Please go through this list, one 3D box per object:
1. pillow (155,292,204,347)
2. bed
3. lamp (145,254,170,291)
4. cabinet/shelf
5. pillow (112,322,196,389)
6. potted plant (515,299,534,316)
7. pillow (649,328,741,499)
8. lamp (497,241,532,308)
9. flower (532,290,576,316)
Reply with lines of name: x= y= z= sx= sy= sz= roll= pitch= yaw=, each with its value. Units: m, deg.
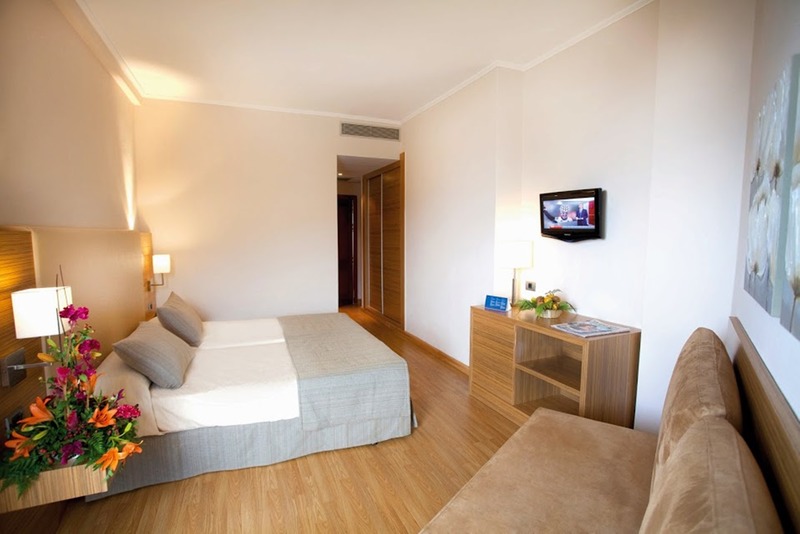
pillow: x=-2.123 y=0.325 z=4.929 sx=0.369 sy=0.365 sz=0.883 roll=-2 pitch=13 yaw=-25
bed: x=-1.103 y=1.103 z=4.075 sx=1.574 sy=0.458 sz=1.593 roll=-7 pitch=15 yaw=-28
lamp: x=-2.818 y=0.068 z=5.920 sx=0.248 sy=0.407 sz=0.205 roll=-5 pitch=0 yaw=-24
cabinet/shelf: x=1.329 y=0.934 z=4.784 sx=0.589 sy=1.083 sz=1.522 roll=-8 pitch=13 yaw=-31
pillow: x=-1.943 y=0.829 z=4.001 sx=0.414 sy=0.216 sz=0.698 roll=13 pitch=17 yaw=-45
potted plant: x=1.220 y=0.394 z=4.910 sx=0.143 sy=0.117 sz=0.151 roll=-2 pitch=5 yaw=-7
pillow: x=1.708 y=0.825 z=2.887 sx=0.185 sy=0.463 sz=0.840 roll=8 pitch=20 yaw=22
lamp: x=1.192 y=0.055 z=5.196 sx=0.346 sy=0.653 sz=0.268 roll=-5 pitch=7 yaw=-31
flower: x=1.447 y=0.345 z=4.728 sx=0.269 sy=0.113 sz=0.270 roll=-5 pitch=6 yaw=-37
